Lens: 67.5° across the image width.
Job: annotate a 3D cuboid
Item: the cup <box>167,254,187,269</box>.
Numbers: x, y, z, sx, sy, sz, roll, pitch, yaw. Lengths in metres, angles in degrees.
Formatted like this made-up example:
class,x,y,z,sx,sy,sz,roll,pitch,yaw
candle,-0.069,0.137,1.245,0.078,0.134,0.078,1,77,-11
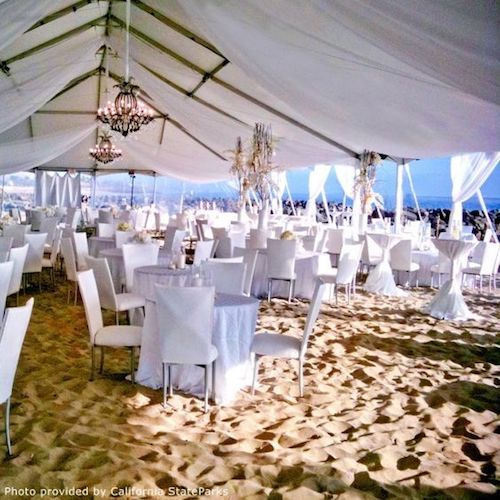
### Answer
class,x,y,z,sx,sy,sz,roll,pitch,yaw
cup,-0.713,0.113,3.726,0.154,0.161,0.143,2,6,0

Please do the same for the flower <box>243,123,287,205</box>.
class,x,y,z,sx,sy,sz,roll,pitch,yaw
flower,0.213,-1.795,7.531,0.639,1.801,1.975,2,6,2

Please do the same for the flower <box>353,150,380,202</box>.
class,x,y,z,sx,sy,sz,roll,pitch,yaw
flower,2.513,-1.618,8.151,0.468,1.131,0.577,5,7,21
